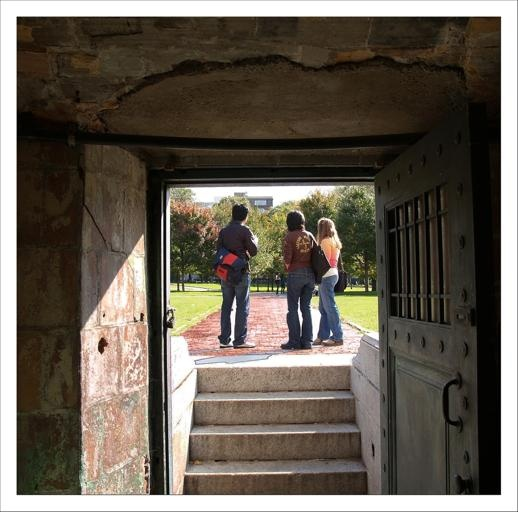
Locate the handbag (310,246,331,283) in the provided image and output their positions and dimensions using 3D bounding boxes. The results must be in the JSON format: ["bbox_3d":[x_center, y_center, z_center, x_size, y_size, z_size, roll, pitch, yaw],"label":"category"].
[{"bbox_3d":[0.718,0.115,7.175,0.089,0.285,0.271,-8,-30,-21],"label":"handbag"}]

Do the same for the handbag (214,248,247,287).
[{"bbox_3d":[-0.319,0.125,7.178,0.269,0.328,0.151,28,20,35],"label":"handbag"}]

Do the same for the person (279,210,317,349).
[{"bbox_3d":[0.479,0.421,7.299,0.386,1.447,0.412,1,-1,3],"label":"person"}]
